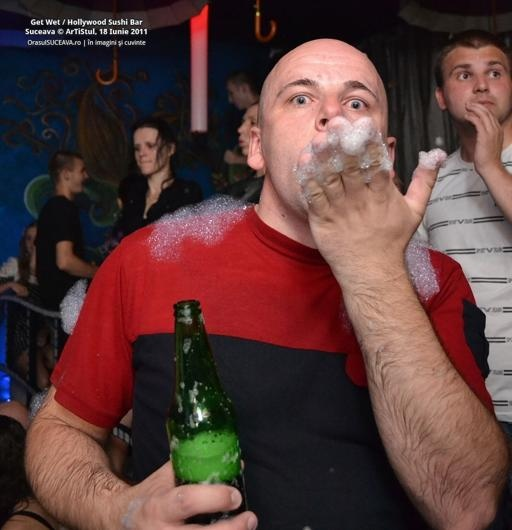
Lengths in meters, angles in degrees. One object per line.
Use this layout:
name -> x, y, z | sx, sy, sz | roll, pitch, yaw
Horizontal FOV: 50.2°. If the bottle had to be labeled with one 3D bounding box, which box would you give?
bottle -> -0.064, 0.161, 0.666 | 0.089, 0.232, 0.072 | -3, 8, -12
